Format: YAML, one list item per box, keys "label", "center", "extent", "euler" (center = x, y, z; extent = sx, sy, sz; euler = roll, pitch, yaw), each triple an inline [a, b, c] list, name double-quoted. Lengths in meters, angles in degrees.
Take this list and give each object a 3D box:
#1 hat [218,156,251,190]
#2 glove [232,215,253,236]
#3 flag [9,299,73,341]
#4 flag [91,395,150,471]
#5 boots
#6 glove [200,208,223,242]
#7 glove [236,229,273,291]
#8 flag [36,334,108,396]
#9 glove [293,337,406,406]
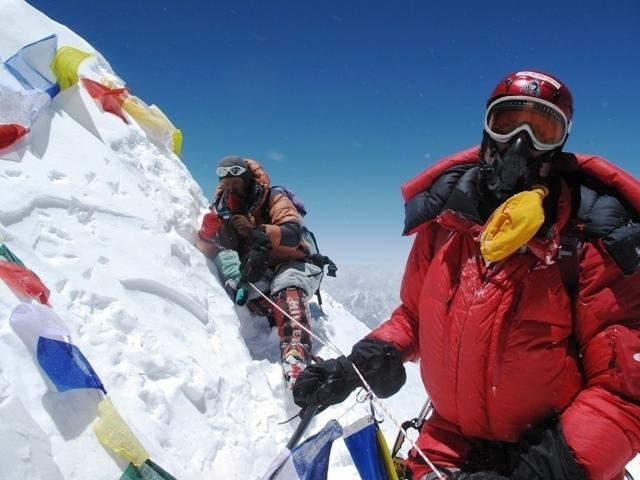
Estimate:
- label: "hat"
  center: [-1.174, -0.954, 7.062]
  extent: [0.383, 0.413, 0.497]
  euler: [-6, -9, 20]
- label: "glove"
  center: [-1.036, -0.207, 6.628]
  extent: [0.290, 0.120, 0.230]
  euler: [45, 30, 18]
- label: "flag"
  center: [-1.973, 0.568, 3.463]
  extent: [0.356, 0.222, 0.155]
  euler: [34, -58, -20]
- label: "flag"
  center: [-1.335, 1.304, 3.279]
  extent: [0.420, 0.273, 0.091]
  euler: [41, -48, 9]
- label: "boots"
  center: [-0.438, 1.138, 5.821]
  extent: [0.791, 0.384, 0.936]
  euler: [29, 9, -47]
- label: "glove"
  center: [-1.444, -0.205, 6.611]
  extent: [0.192, 0.386, 0.269]
  euler: [13, -4, -14]
- label: "glove"
  center: [-0.862, 0.246, 6.341]
  extent: [0.237, 0.638, 0.516]
  euler: [-16, -37, 31]
- label: "flag"
  center: [-1.723, 0.857, 3.387]
  extent: [0.458, 0.125, 0.331]
  euler: [53, 21, 6]
- label: "glove"
  center: [0.180, 0.996, 3.717]
  extent: [0.932, 0.440, 0.549]
  euler: [-20, -22, 0]
